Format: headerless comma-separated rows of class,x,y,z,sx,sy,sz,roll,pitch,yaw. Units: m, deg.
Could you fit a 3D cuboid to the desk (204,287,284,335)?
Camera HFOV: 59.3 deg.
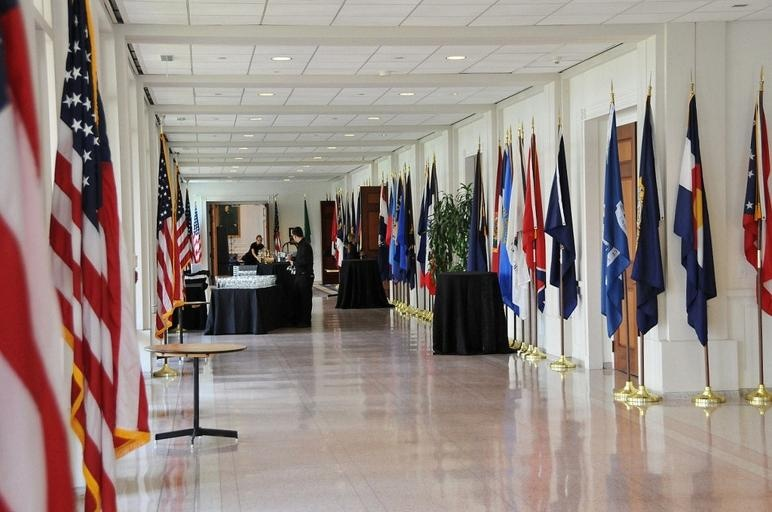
desk,-2.719,0.910,12.500,1.024,0.794,1.521,-1,4,-5

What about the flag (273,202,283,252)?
flag,-3.986,-1.136,25.045,0.278,1.756,0.464,-1,2,-12

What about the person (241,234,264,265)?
person,-3.905,-0.179,19.830,0.531,0.742,0.876,-1,2,-12

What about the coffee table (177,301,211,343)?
coffee table,-3.282,1.125,11.514,0.790,0.793,0.787,0,-2,-13

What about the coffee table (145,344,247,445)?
coffee table,-1.737,1.107,6.199,0.874,0.851,0.901,1,7,0

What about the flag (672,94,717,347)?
flag,3.196,-0.399,7.019,0.264,2.612,0.330,-2,3,-40

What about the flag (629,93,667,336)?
flag,2.729,-0.451,7.106,0.346,2.551,0.237,-1,2,-1

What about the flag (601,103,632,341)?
flag,2.487,-0.386,7.332,0.257,2.522,0.314,0,2,17

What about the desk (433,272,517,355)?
desk,1.233,0.804,9.982,1.143,1.105,1.122,-2,-2,-7

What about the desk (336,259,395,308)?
desk,-0.589,0.589,16.328,1.155,1.093,1.087,-1,0,-10

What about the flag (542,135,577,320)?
flag,2.205,-0.348,8.546,0.374,2.290,0.516,0,2,15

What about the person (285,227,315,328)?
person,-1.633,0.392,13.163,0.388,1.878,0.814,-1,2,-8
